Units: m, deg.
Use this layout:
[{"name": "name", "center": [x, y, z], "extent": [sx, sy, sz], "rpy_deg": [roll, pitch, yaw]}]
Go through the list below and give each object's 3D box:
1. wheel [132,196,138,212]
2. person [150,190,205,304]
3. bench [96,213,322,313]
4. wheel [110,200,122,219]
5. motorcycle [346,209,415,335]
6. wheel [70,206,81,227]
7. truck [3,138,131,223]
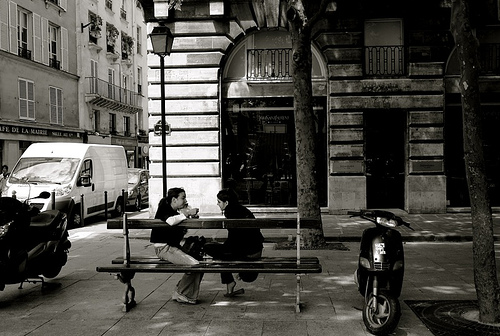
[{"name": "wheel", "center": [-4.805, 1.492, 26.829], "extent": [0.232, 0.496, 0.601], "rpy_deg": [-2, 10, -9]}, {"name": "person", "center": [-1.525, 1.684, 13.914], "extent": [1.110, 2.400, 0.667], "rpy_deg": [7, 13, 38]}, {"name": "bench", "center": [-0.825, 2.029, 13.866], "extent": [4.750, 2.026, 1.545], "rpy_deg": [0, 2, -3]}, {"name": "wheel", "center": [-5.120, 1.538, 24.466], "extent": [0.223, 0.710, 0.701], "rpy_deg": [2, 0, 15]}, {"name": "motorcycle", "center": [2.637, 2.047, 13.075], "extent": [1.046, 2.282, 1.235], "rpy_deg": [1, 10, 9]}, {"name": "wheel", "center": [-5.851, 1.628, 21.529], "extent": [0.195, 0.693, 0.603], "rpy_deg": [2, 11, 16]}, {"name": "truck", "center": [-6.334, 0.460, 22.554], "extent": [2.412, 2.172, 4.492], "rpy_deg": [-1, -5, 13]}]
